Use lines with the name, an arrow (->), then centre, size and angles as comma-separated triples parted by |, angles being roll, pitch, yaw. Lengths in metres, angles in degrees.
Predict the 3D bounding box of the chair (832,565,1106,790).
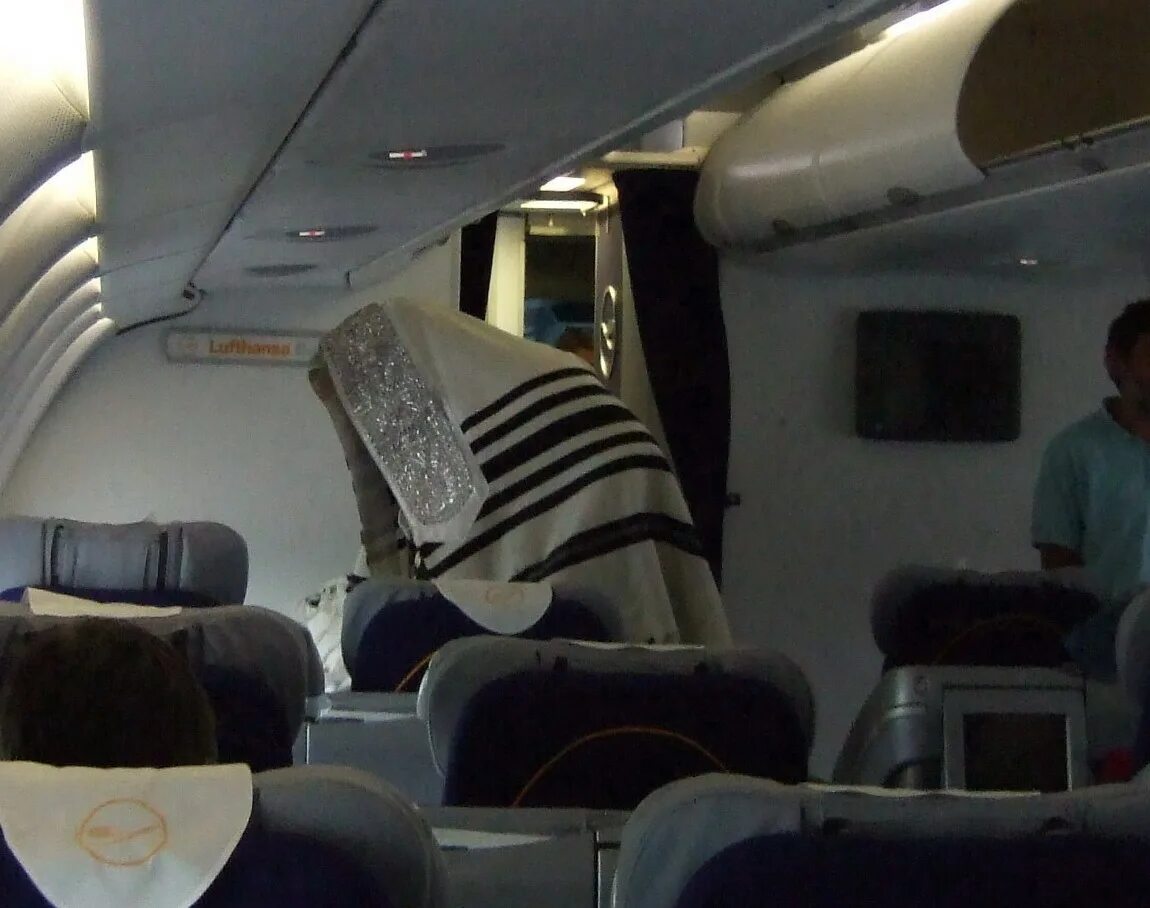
chair -> 0.676, 0.390, 2.137 | 0.311, 0.426, 0.430 | 3, -8, -1
